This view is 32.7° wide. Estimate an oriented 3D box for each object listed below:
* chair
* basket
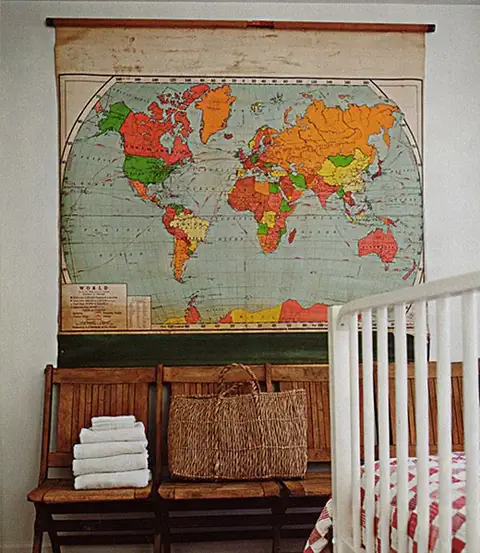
[{"bbox_3d":[-0.013,0.864,3.836,1.322,0.610,0.371,0,-7,-5],"label":"chair"},{"bbox_3d":[-0.030,0.767,4.225,0.632,0.482,0.266,0,-12,-1],"label":"basket"}]
